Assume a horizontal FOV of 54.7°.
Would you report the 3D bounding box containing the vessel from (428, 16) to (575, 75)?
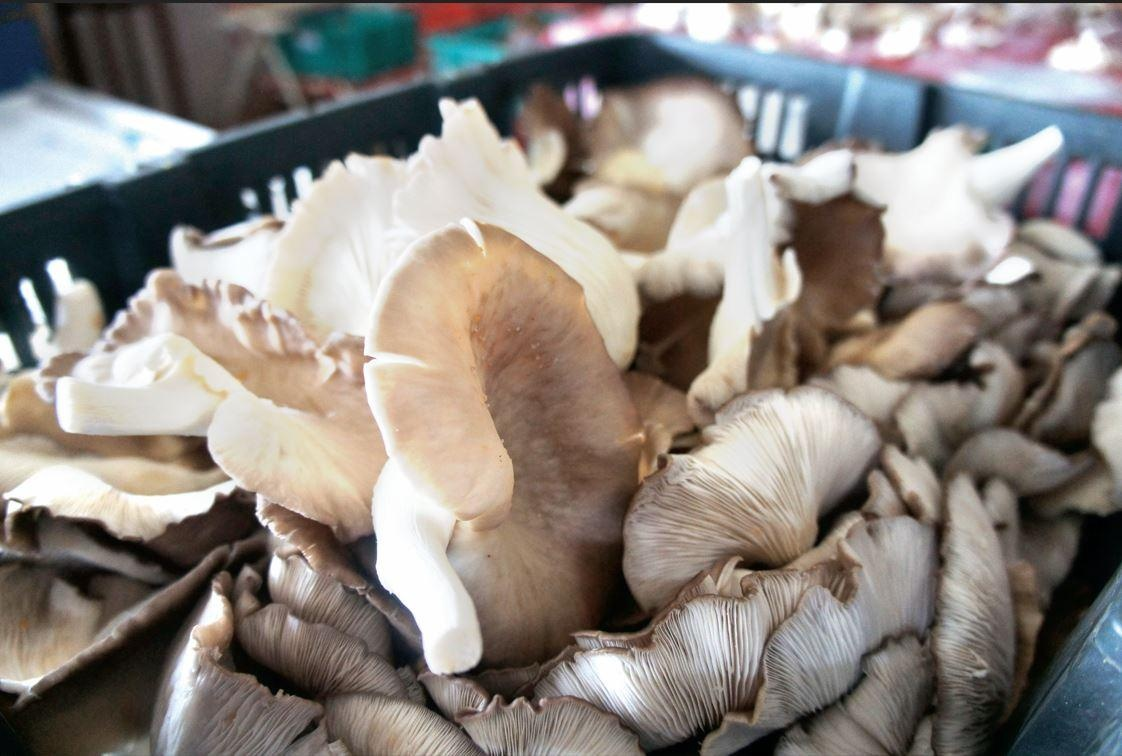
[{"bbox_3d":[-0.124,-0.672,2.102,0.201,0.051,0.118,-20,36,-30],"label":"vessel"}]
